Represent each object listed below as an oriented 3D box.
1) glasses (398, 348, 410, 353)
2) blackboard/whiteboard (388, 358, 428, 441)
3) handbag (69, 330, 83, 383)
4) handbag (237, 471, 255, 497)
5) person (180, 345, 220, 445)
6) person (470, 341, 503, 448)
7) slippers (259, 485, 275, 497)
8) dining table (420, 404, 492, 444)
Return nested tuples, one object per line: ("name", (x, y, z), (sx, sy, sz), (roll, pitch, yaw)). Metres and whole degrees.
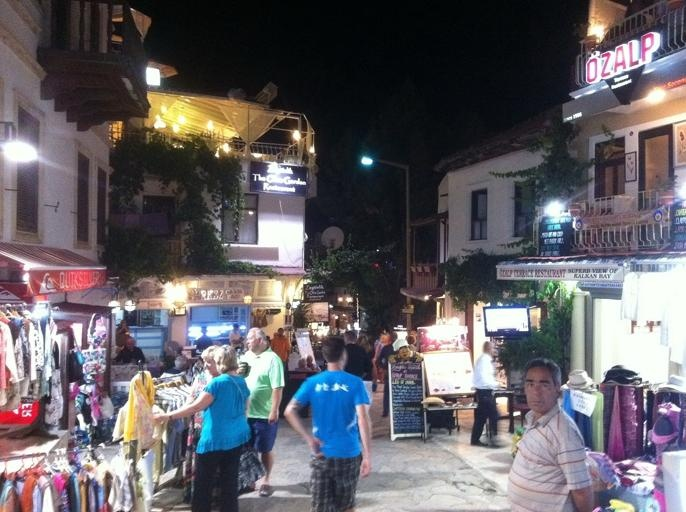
("glasses", (1.377, 2.079, 15.627), (0.212, 0.096, 0.137), (0, 6, -25))
("blackboard/whiteboard", (1.411, 3.091, 15.255), (0.740, 1.601, 0.760), (-1, 1, 1))
("handbag", (-4.898, 1.878, 13.529), (0.212, 1.037, 0.693), (0, 6, -21))
("handbag", (-1.568, 3.931, 12.180), (0.252, 0.375, 0.124), (15, 1, -34))
("person", (-2.340, 2.421, 12.223), (0.736, 1.823, 0.660), (6, 1, 29))
("person", (2.972, 2.869, 14.770), (0.582, 2.061, 0.776), (4, 6, 12))
("slippers", (-1.257, 4.024, 12.303), (0.237, 0.180, 0.361), (2, 6, -6))
("dining table", (2.234, 3.484, 15.466), (1.227, 0.675, 0.738), (1, -22, 0))
